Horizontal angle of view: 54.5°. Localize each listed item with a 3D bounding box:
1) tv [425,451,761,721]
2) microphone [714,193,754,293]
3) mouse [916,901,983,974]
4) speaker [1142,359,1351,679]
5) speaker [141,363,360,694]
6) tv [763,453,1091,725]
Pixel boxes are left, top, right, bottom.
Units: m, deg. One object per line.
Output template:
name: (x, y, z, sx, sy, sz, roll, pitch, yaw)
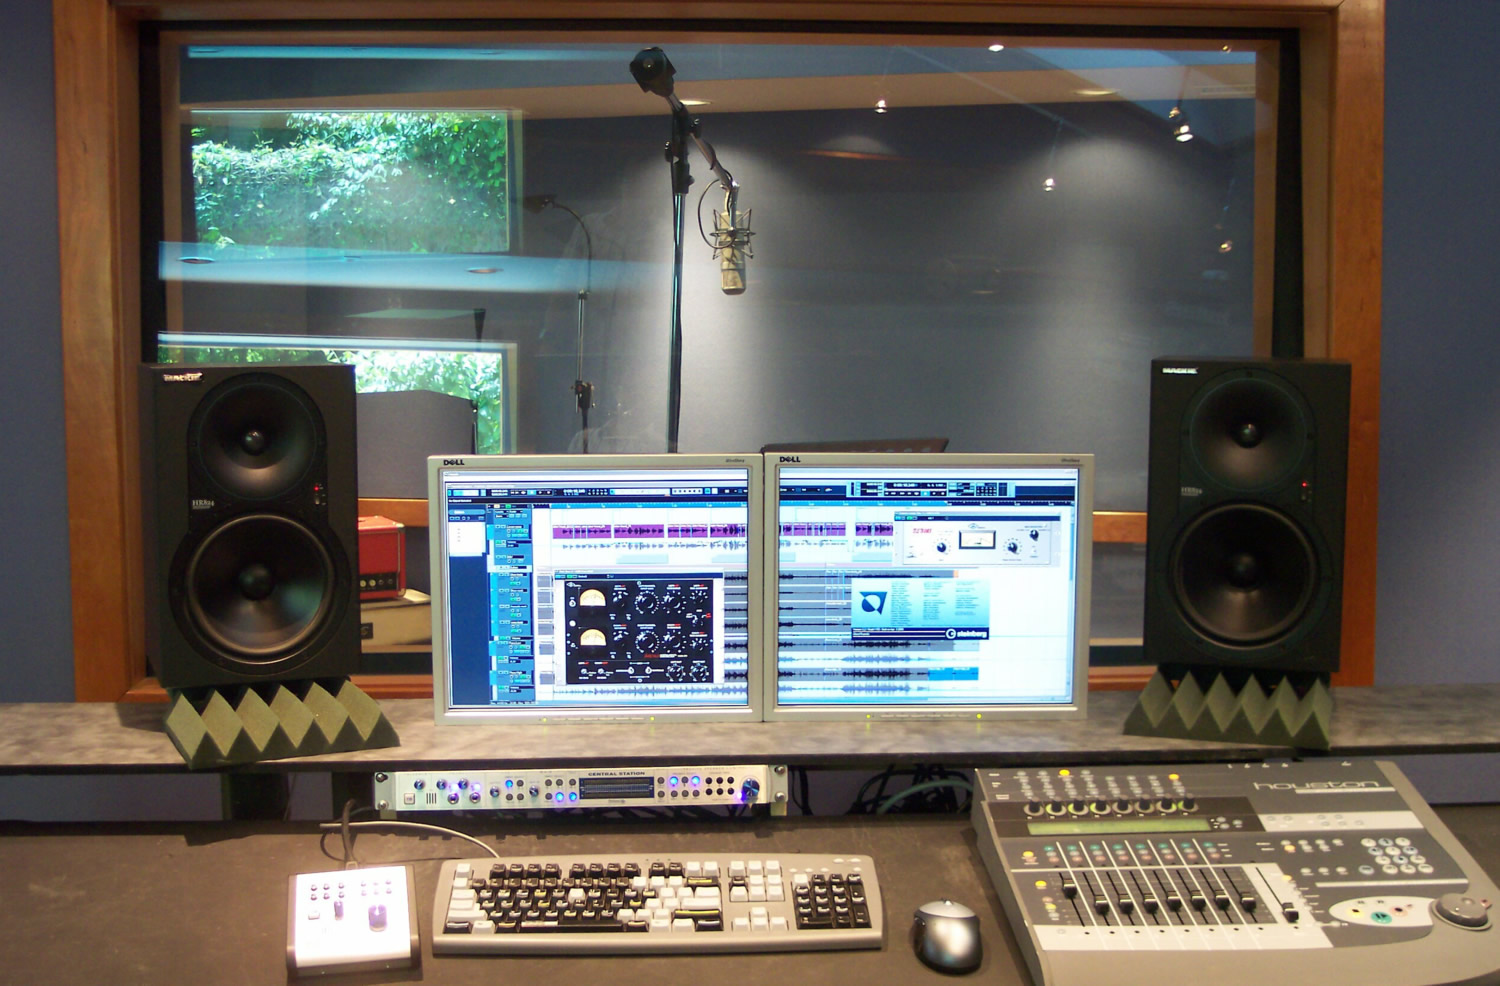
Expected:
tv: (-0.331, 0.179, 2.970, 0.594, 0.429, 0.041, 0, 3, -2)
microphone: (-0.045, -0.647, 3.683, 0.094, 0.271, 0.086, -3, 4, -16)
mouse: (0.360, 0.806, 2.681, 0.120, 0.094, 0.114, 9, 10, 38)
speaker: (1.017, 0.042, 3.096, 0.457, 0.631, 0.411, 2, 4, 17)
speaker: (-1.053, 0.062, 3.049, 0.519, 0.616, 0.483, -1, 0, 3)
tv: (0.341, 0.175, 2.988, 0.609, 0.456, 0.046, 0, 3, -1)
